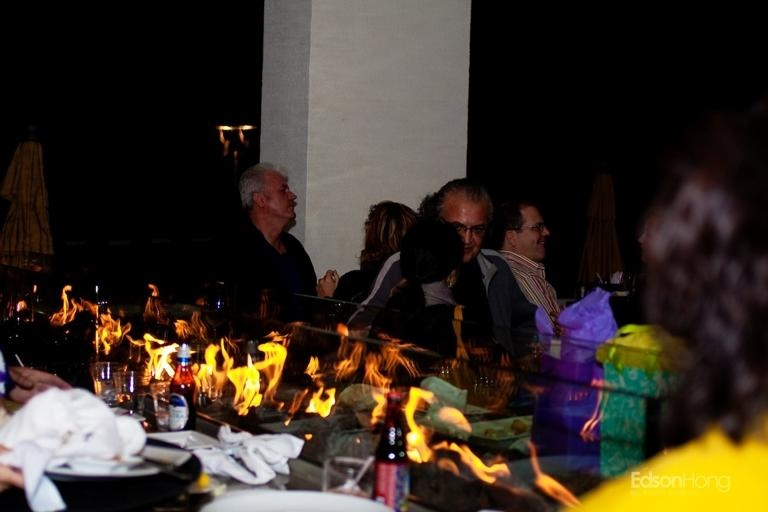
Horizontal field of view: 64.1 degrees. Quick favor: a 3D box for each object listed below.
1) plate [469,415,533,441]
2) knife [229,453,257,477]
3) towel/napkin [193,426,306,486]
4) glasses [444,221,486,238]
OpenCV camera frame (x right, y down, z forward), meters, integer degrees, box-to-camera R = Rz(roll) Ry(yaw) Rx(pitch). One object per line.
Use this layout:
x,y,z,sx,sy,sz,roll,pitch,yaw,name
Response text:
0.353,0.525,1.933,0.136,0.023,0.095,-2,9,-12,plate
-0.368,0.552,1.610,0.114,0.027,0.024,33,35,34,knife
-0.369,0.528,1.643,0.155,0.053,0.153,2,6,-41,towel/napkin
0.449,-0.151,3.458,0.126,0.059,0.161,5,-6,1,glasses
